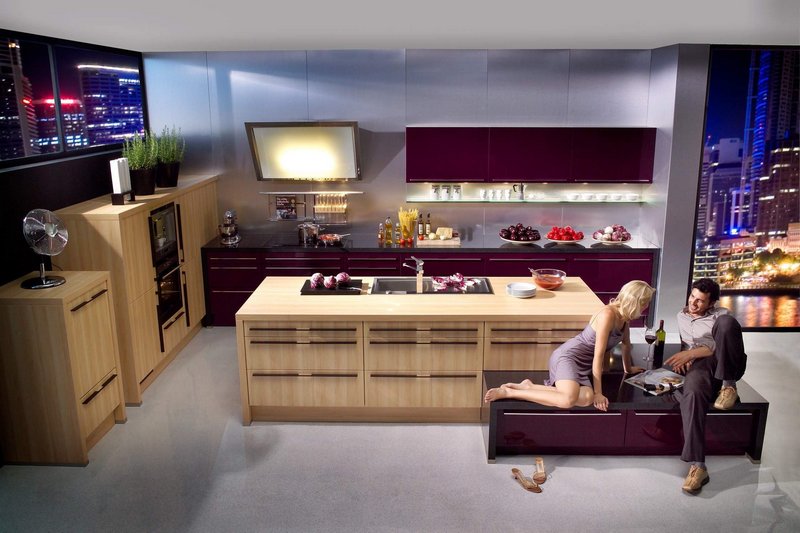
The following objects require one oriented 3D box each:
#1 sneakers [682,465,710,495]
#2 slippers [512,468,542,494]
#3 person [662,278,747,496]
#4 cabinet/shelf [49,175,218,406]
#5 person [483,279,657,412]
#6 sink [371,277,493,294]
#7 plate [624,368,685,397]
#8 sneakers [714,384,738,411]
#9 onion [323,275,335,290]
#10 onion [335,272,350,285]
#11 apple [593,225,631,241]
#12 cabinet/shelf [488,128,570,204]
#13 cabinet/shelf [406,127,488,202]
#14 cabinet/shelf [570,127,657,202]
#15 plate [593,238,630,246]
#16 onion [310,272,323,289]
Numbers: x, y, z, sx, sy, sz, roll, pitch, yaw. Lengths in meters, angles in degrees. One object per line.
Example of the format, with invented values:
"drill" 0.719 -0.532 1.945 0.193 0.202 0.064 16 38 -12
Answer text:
"sneakers" 2.641 1.881 4.750 0.135 0.153 0.371 1 10 41
"slippers" 1.138 1.926 4.771 0.099 0.077 0.298 -7 12 -18
"person" 2.795 1.023 4.990 0.673 1.721 1.062 11 18 40
"cabinet/shelf" -3.006 0.271 5.900 0.729 1.524 2.502 0 16 -2
"person" 1.700 0.767 5.084 1.818 1.051 0.782 -14 11 -15
"sink" 0.350 0.203 5.977 1.351 0.154 0.474 -1 12 -2
"plate" 2.409 1.038 5.010 0.285 0.064 0.283 -15 18 -38
"sneakers" 3.015 1.204 4.900 0.123 0.129 0.334 5 13 38
"onion" -0.769 0.168 5.854 0.124 0.130 0.058 -3 -1 -1
"onion" -0.637 0.128 5.912 0.117 0.112 0.145 4 -24 2
"apple" 3.007 -0.470 7.606 0.315 0.129 0.307 0 8 2
"cabinet/shelf" 1.821 -1.357 7.773 1.350 0.886 0.686 0 14 4
"cabinet/shelf" 0.665 -1.360 7.808 1.370 0.873 0.693 0 13 2
"cabinet/shelf" 2.961 -1.618 7.570 1.373 0.925 0.713 1 11 4
"plate" 2.992 -0.394 7.516 0.472 0.127 0.307 4 13 19
"onion" -0.923 0.140 5.877 0.148 0.148 0.197 -3 13 -9
